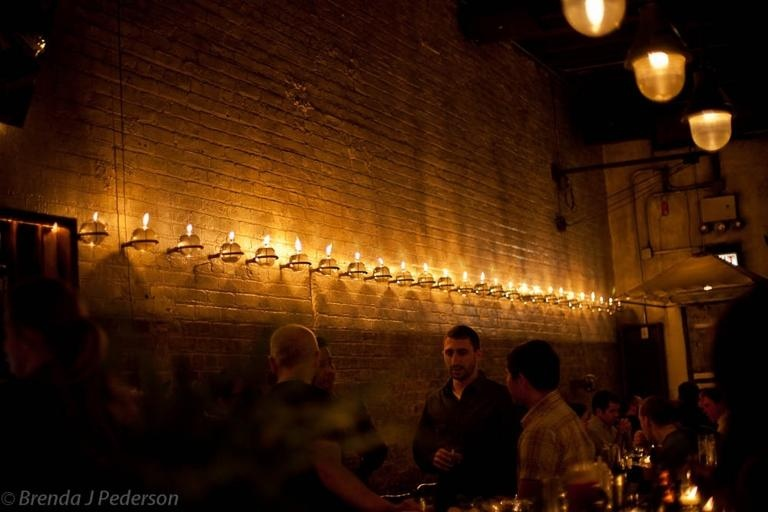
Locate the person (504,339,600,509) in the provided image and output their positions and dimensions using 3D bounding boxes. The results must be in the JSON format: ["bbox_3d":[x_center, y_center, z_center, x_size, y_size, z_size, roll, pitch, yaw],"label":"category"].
[{"bbox_3d":[0.843,0.846,3.438,0.452,0.783,0.454,0,-6,18],"label":"person"}]
